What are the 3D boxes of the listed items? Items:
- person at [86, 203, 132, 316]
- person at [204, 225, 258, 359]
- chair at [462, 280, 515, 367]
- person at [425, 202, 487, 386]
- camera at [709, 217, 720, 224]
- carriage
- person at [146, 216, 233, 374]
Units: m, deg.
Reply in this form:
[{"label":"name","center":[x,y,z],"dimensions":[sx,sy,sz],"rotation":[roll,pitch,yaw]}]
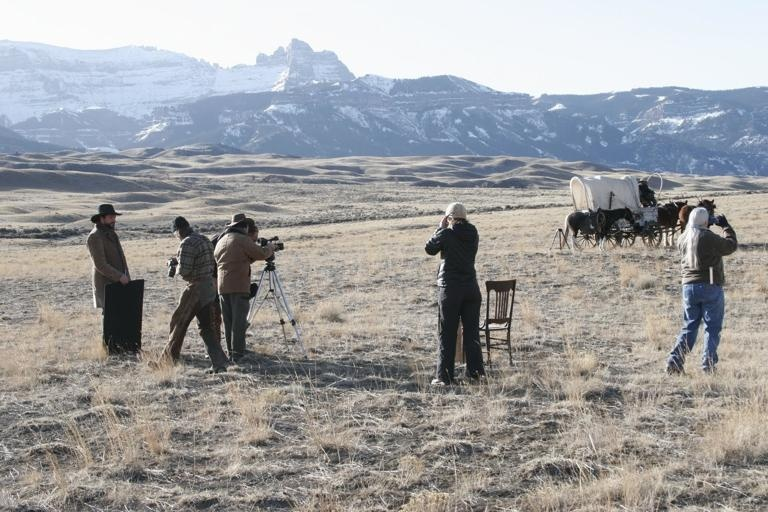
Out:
[{"label":"person","center":[-6.385,0.354,20.698],"dimensions":[1.030,3.101,1.144],"rotation":[-10,15,-32]},{"label":"person","center":[-3.135,0.725,20.146],"dimensions":[1.301,3.339,1.151],"rotation":[0,-2,27]},{"label":"chair","center":[2.401,1.502,20.181],"dimensions":[1.090,1.899,1.049],"rotation":[-2,4,-41]},{"label":"person","center":[1.642,0.803,19.097],"dimensions":[1.299,3.763,1.120],"rotation":[-5,7,-26]},{"label":"camera","center":[7.085,-0.798,19.084],"dimensions":[0.171,0.181,0.137],"rotation":[4,13,22]},{"label":"carriage","center":[9.581,-1.668,33.245],"dimensions":[4.656,2.694,1.624],"rotation":[-4,1,-2]},{"label":"person","center":[-4.156,0.839,19.553],"dimensions":[1.368,3.368,0.679],"rotation":[1,6,7]}]
